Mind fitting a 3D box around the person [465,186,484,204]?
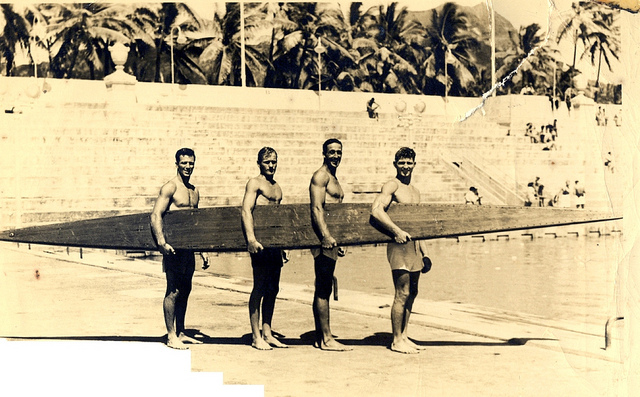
[{"bbox_3d":[4.707,-0.096,35.489,0.518,0.837,0.501,-6,11,-19],"label":"person"}]
